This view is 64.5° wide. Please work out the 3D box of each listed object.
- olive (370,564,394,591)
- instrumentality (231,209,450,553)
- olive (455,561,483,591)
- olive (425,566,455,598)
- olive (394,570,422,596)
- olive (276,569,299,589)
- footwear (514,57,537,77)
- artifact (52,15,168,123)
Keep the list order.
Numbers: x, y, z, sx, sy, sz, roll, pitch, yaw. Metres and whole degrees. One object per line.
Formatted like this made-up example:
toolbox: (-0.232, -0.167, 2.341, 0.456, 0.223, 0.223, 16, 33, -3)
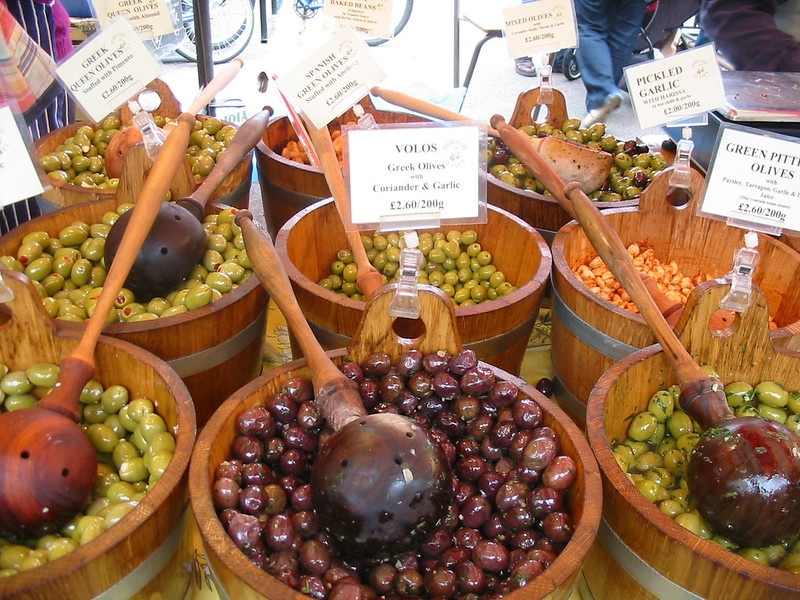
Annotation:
olive: (-0.040, 0.687, 1.559, 0.050, 0.054, 0.068, 9, 69, 3)
instrumentality: (-0.213, 0.202, 1.752, 0.293, 0.282, 0.954, -13, 63, -30)
olive: (0.170, 0.682, 1.596, 0.049, 0.058, 0.066, -10, 26, -39)
olive: (0.102, 0.697, 1.553, 0.060, 0.061, 0.076, -22, 45, 25)
olive: (0.020, 0.696, 1.553, 0.048, 0.055, 0.053, -9, 17, 15)
olive: (-0.263, 0.664, 1.501, 0.034, 0.031, 0.039, 2, 4, -1)
footwear: (1.354, -2.539, 6.891, 0.168, 0.178, 0.476, -2, 43, 3)
artifact: (-1.096, -0.876, 2.386, 0.362, 0.305, 0.121, -26, 45, -22)
